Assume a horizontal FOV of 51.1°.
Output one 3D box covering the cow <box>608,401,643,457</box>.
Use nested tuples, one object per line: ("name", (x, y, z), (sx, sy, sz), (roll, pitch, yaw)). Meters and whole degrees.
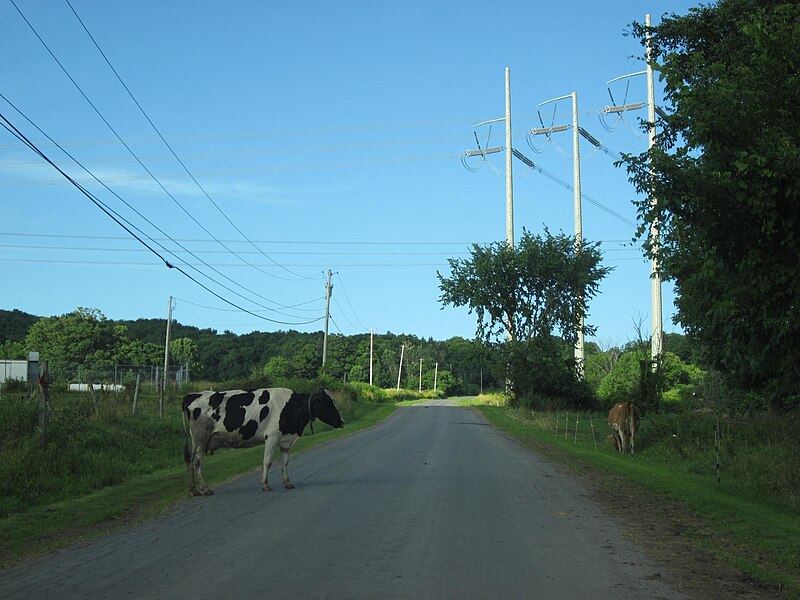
("cow", (8.469, 4.813, 31.569), (1.019, 2.069, 2.263), (-3, -12, 12))
